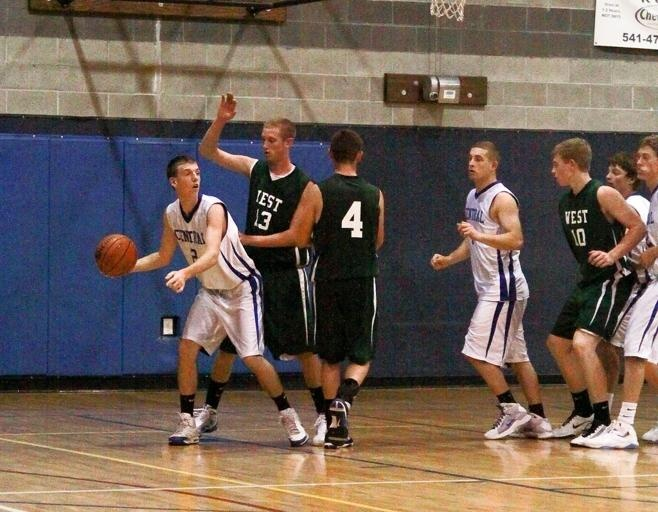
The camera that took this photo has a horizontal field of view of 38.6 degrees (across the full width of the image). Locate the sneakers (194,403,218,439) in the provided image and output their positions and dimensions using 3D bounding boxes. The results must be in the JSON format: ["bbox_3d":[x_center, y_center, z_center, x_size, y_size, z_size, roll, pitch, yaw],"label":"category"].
[{"bbox_3d":[-0.945,1.211,6.940,0.282,0.243,0.105,0,-4,-1],"label":"sneakers"}]

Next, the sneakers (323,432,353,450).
[{"bbox_3d":[0.047,1.260,6.377,0.221,0.124,0.079,2,-6,-37],"label":"sneakers"}]

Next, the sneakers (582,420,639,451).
[{"bbox_3d":[1.984,1.264,6.606,0.415,0.232,0.165,0,-10,-5],"label":"sneakers"}]

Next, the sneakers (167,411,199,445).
[{"bbox_3d":[-0.986,1.176,6.458,0.109,0.185,0.349,0,9,11],"label":"sneakers"}]

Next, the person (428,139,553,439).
[{"bbox_3d":[1.247,0.270,6.937,0.735,2.231,0.866,-1,4,12],"label":"person"}]

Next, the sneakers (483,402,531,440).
[{"bbox_3d":[1.351,1.266,7.118,0.311,0.209,0.111,-33,7,9],"label":"sneakers"}]

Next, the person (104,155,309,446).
[{"bbox_3d":[-0.785,0.325,6.415,0.941,2.022,0.768,1,5,37],"label":"person"}]

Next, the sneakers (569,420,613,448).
[{"bbox_3d":[1.875,1.272,6.672,0.362,0.168,0.123,-5,-1,-39],"label":"sneakers"}]

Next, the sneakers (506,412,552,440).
[{"bbox_3d":[1.480,1.276,6.977,0.327,0.183,0.145,-2,-3,3],"label":"sneakers"}]

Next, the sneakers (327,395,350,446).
[{"bbox_3d":[0.066,1.147,6.378,0.115,0.377,0.159,3,20,8],"label":"sneakers"}]
